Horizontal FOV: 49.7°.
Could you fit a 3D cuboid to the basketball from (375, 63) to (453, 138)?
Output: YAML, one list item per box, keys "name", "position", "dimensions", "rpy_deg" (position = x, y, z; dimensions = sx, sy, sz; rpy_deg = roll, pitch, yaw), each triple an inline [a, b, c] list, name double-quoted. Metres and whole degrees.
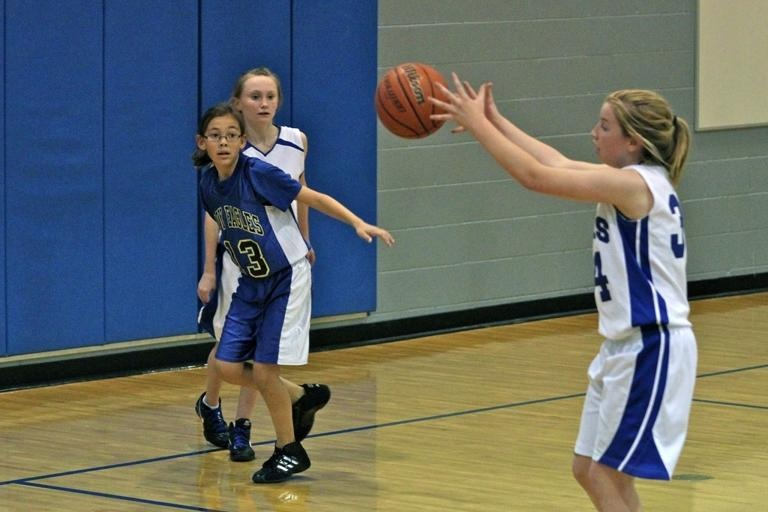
- name: "basketball"
  position: [0.111, -0.620, 3.313]
  dimensions: [0.282, 0.304, 0.298]
  rpy_deg: [3, -41, -4]

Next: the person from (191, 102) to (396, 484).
- name: "person"
  position: [-0.516, 0.164, 3.892]
  dimensions: [0.781, 1.733, 0.426]
  rpy_deg: [0, 7, 5]

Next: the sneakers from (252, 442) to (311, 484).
- name: "sneakers"
  position: [-0.466, 0.954, 3.847]
  dimensions: [0.101, 0.146, 0.316]
  rpy_deg: [-2, 3, 44]

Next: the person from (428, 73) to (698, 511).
- name: "person"
  position: [0.691, 0.166, 2.862]
  dimensions: [0.721, 1.456, 0.556]
  rpy_deg: [2, 8, 21]

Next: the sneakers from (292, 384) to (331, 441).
- name: "sneakers"
  position: [-0.346, 0.727, 4.010]
  dimensions: [0.117, 0.324, 0.138]
  rpy_deg: [26, 21, 22]
